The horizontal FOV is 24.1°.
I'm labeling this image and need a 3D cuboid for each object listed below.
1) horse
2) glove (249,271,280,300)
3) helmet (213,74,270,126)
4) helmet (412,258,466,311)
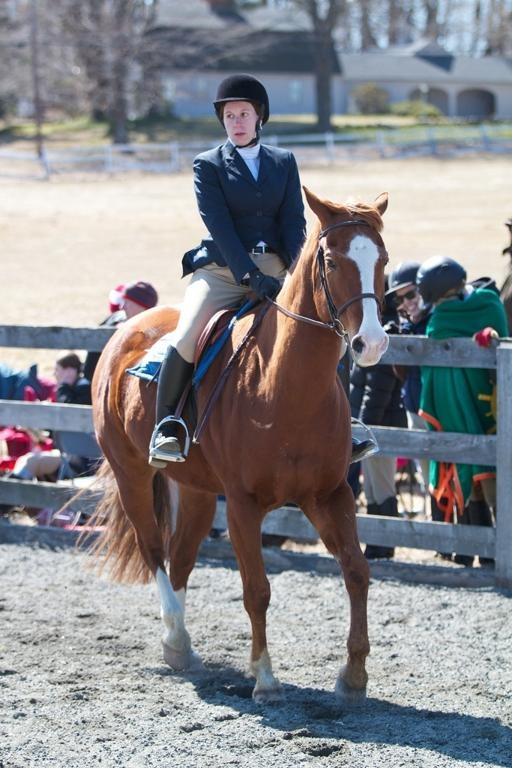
[{"bbox_3d":[-0.057,0.230,5.350,0.731,2.158,2.082,-7,11,-25],"label":"horse"},{"bbox_3d":[0.041,-0.423,5.192,0.099,0.132,0.047,-38,5,-6],"label":"glove"},{"bbox_3d":[-0.050,-1.290,5.365,0.180,0.130,0.255,-3,-37,6],"label":"helmet"},{"bbox_3d":[0.997,-0.566,6.655,0.297,0.261,0.214,-6,10,20],"label":"helmet"}]
